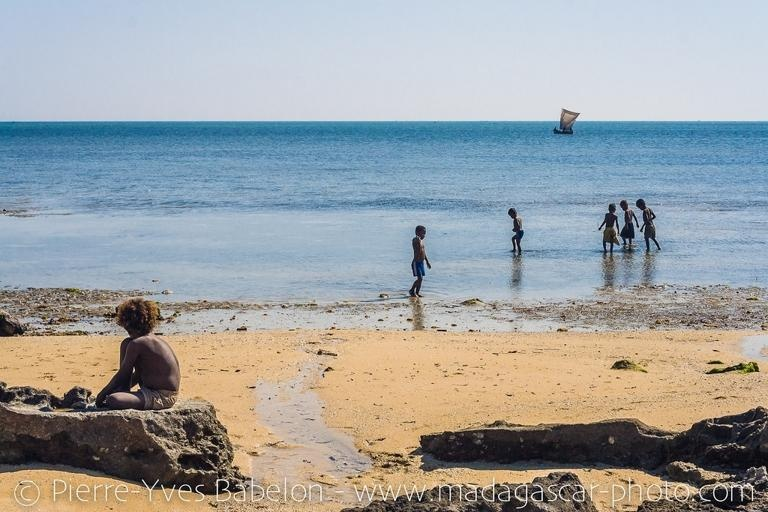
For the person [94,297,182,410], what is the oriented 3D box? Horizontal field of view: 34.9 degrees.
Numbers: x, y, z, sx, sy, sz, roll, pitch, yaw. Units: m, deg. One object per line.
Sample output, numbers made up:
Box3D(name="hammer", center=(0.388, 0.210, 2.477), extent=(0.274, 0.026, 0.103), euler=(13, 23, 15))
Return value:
Box3D(name="person", center=(-5.105, 2.095, 25.778), extent=(1.563, 2.305, 0.523), euler=(-1, 3, -10))
